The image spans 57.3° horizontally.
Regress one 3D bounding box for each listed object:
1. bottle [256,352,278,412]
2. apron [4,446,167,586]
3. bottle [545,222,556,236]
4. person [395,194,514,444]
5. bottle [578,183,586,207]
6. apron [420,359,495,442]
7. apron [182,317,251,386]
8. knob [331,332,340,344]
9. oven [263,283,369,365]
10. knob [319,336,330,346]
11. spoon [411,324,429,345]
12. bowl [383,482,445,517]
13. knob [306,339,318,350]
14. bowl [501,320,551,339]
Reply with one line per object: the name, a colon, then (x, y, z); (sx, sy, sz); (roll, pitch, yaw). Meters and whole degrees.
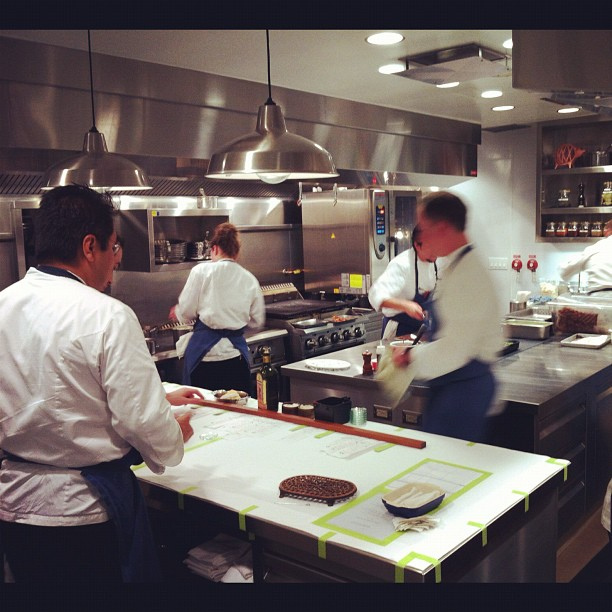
bottle: (-0.168, 0.317, 2.371); (0.087, 0.261, 0.126); (-2, 7, -5)
apron: (-0.493, 0.582, 1.489); (0.184, 0.377, 0.105); (-7, 10, -40)
bottle: (2.694, -0.832, 6.172); (0.049, 0.139, 0.111); (-5, 8, -26)
person: (0.819, 0.034, 2.973); (0.466, 1.133, 1.462); (2, 7, 20)
bottle: (2.928, -1.158, 5.921); (0.072, 0.240, 0.139); (2, 8, 25)
apron: (0.687, 0.411, 2.498); (0.274, 0.363, 0.094); (0, 8, 10)
apron: (-0.646, 0.310, 4.002); (0.576, 0.484, 0.279); (0, -6, -35)
knob: (0.239, 0.275, 4.772); (0.035, 0.097, 0.111); (2, 4, 42)
oven: (-0.049, 0.104, 5.033); (0.828, 0.895, 0.726); (2, 6, 38)
knob: (0.146, 0.296, 4.680); (0.065, 0.076, 0.020); (12, 6, 10)
spoon: (0.603, 0.153, 2.970); (0.035, 0.122, 0.021); (37, -10, 1)
bowl: (0.288, 0.522, 1.507); (0.122, 0.044, 0.165); (5, 9, 41)
knob: (0.041, 0.322, 4.611); (0.113, 0.088, 0.029); (-8, 10, -44)
bowl: (1.538, 0.165, 3.930); (0.239, 0.087, 0.319); (-2, 6, -26)
